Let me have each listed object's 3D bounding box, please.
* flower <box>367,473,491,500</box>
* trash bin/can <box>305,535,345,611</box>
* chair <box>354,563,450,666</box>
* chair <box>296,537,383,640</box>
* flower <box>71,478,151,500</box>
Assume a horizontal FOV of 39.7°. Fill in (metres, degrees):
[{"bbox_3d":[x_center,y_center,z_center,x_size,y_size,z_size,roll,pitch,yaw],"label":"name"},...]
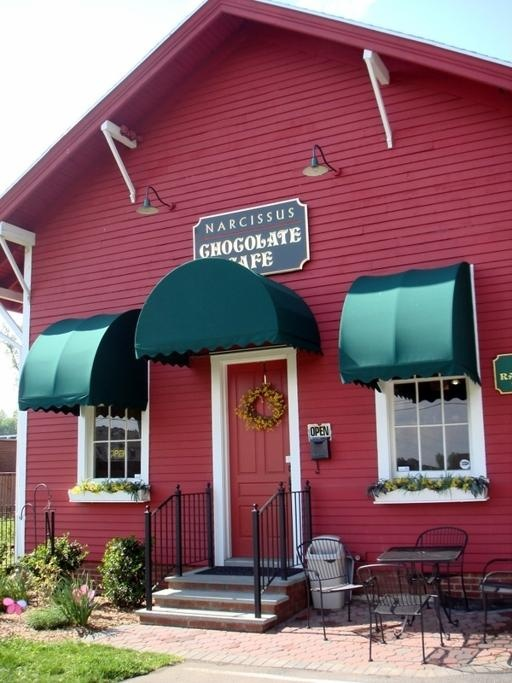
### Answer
[{"bbox_3d":[2.099,1.792,8.660,1.452,0.254,0.167,-8,-14,27],"label":"flower"},{"bbox_3d":[0.868,2.807,8.597,0.476,0.851,0.721,-4,-13,6],"label":"trash bin/can"},{"bbox_3d":[1.451,2.667,7.280,0.679,0.994,0.839,-3,-1,16],"label":"chair"},{"bbox_3d":[1.188,2.795,8.528,0.871,1.292,0.984,4,-24,-16],"label":"chair"},{"bbox_3d":[-2.246,2.316,10.953,1.326,0.379,0.393,-9,-14,32],"label":"flower"}]
